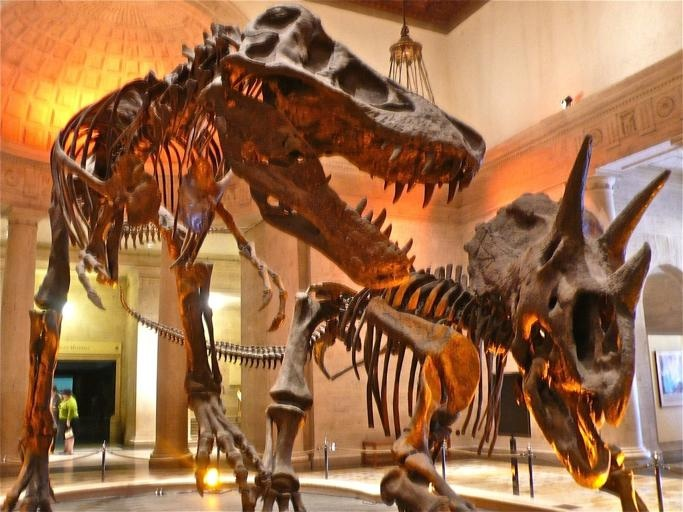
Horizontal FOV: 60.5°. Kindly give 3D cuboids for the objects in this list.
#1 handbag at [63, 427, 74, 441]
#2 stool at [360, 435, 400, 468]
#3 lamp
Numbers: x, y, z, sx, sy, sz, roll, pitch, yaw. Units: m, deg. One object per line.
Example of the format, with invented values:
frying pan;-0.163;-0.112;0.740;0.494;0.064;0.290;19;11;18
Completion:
handbag;-5.558;3.626;11.970;0.143;0.250;0.343;6;-16;-27
stool;0.630;3.370;10.069;0.565;0.467;0.703;-1;-14;1
lamp;1.186;-3.533;10.140;0.750;1.580;1.956;-3;-14;10
